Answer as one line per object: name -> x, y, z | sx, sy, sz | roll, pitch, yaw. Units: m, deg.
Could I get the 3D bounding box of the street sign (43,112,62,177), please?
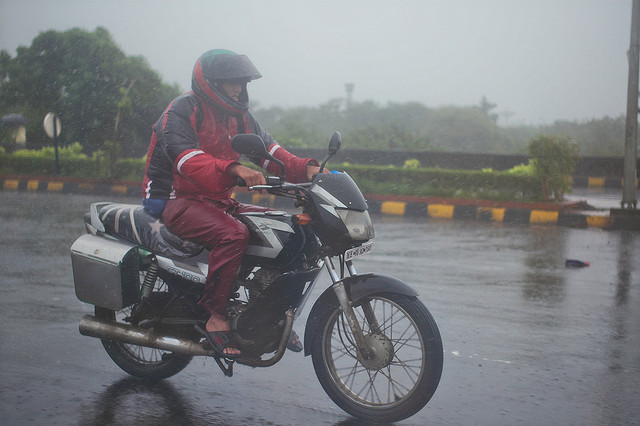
street sign -> -5.856, -1.374, 16.820 | 0.121, 1.670, 0.596 | -2, 7, 15

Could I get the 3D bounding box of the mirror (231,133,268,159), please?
mirror -> -0.668, -0.636, 7.069 | 0.333, 0.211, 0.190 | 2, 4, -6

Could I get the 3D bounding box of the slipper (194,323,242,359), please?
slipper -> -0.993, 1.225, 7.318 | 0.387, 0.124, 0.225 | 39, 13, 19

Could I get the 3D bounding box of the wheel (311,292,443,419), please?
wheel -> 0.517, 1.420, 7.316 | 1.271, 1.200, 0.321 | 0, 8, 19

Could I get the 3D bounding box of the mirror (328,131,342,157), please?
mirror -> 0.141, -0.692, 7.505 | 0.083, 0.270, 0.066 | 17, -20, 4

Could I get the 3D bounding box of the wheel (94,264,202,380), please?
wheel -> -1.752, 1.100, 7.732 | 1.259, 1.290, 0.229 | 7, 8, 28
